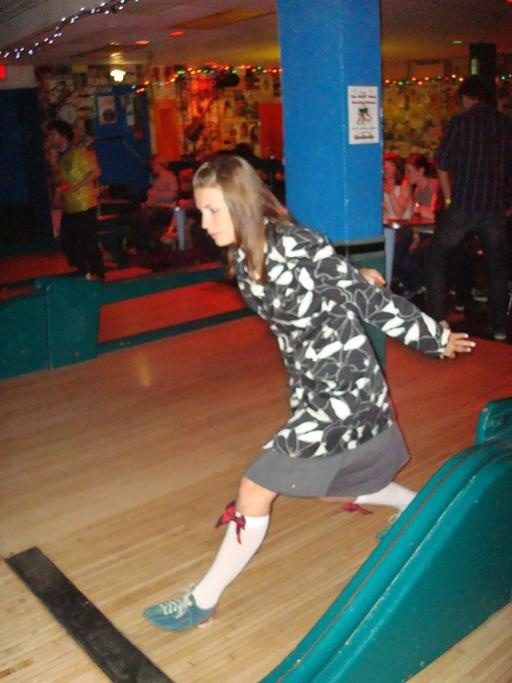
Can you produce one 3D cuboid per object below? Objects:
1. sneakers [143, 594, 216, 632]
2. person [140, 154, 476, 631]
[{"bbox_3d":[-0.198,0.696,1.397,0.196,0.085,0.081,0,41,-11],"label":"sneakers"},{"bbox_3d":[0.126,0.112,1.309,0.948,1.041,0.432,-5,4,-27],"label":"person"}]
